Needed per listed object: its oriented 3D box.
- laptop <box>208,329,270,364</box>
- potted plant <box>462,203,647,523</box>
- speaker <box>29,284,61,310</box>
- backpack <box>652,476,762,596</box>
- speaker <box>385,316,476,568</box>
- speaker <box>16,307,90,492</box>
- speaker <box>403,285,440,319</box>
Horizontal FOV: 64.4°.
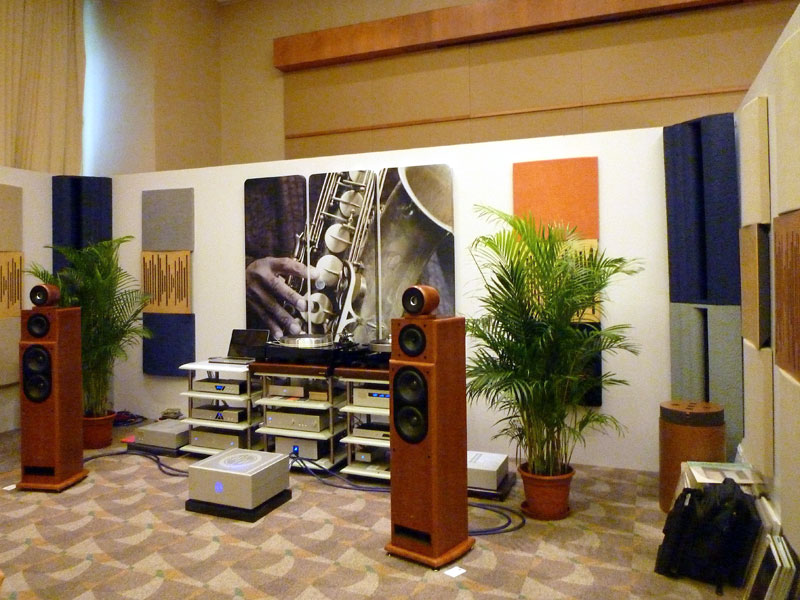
[{"bbox_3d":[-1.341,0.361,5.293,0.365,0.239,0.322,-1,-2,23],"label":"laptop"},{"bbox_3d":[0.972,0.413,4.158,1.203,1.962,1.163,1,-11,23],"label":"potted plant"},{"bbox_3d":[-2.550,-0.037,4.550,0.152,0.174,0.175,14,6,11],"label":"speaker"},{"bbox_3d":[1.629,1.243,3.424,0.484,0.596,0.473,6,-5,35],"label":"backpack"},{"bbox_3d":[0.164,0.778,3.605,0.499,1.343,0.486,-1,10,0],"label":"speaker"},{"bbox_3d":[-2.518,0.683,4.530,0.404,1.262,0.459,-2,10,-6],"label":"speaker"},{"bbox_3d":[0.111,0.004,3.725,0.166,0.178,0.182,-23,-12,32],"label":"speaker"}]
